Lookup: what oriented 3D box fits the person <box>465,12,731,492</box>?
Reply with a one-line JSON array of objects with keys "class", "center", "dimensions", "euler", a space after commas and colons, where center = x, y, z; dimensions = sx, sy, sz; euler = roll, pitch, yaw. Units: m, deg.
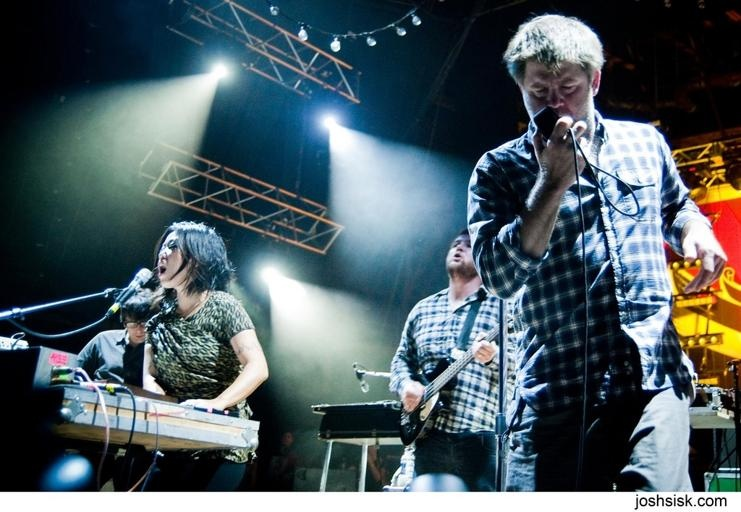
[{"class": "person", "center": [1.020, -0.043, 2.854], "dimensions": [1.066, 2.272, 0.687], "euler": [14, -20, -17]}]

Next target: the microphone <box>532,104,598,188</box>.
[{"class": "microphone", "center": [0.908, -0.499, 2.670], "dimensions": [0.104, 0.402, 0.240], "euler": [-3, -25, -39]}]

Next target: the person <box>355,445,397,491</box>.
[{"class": "person", "center": [0.149, 3.482, 10.100], "dimensions": [0.952, 0.478, 1.645], "euler": [-3, -10, -2]}]
